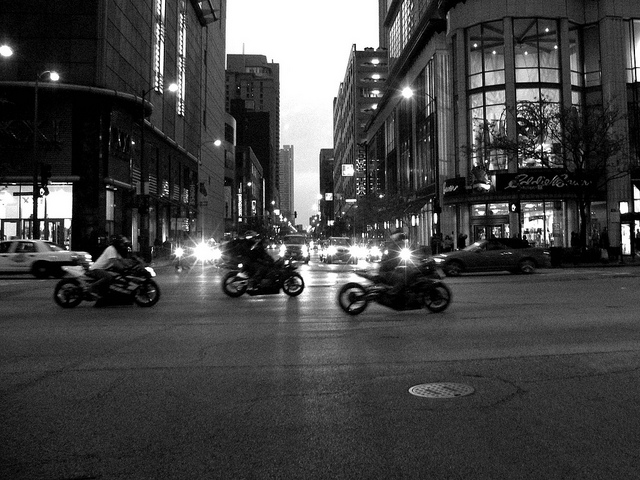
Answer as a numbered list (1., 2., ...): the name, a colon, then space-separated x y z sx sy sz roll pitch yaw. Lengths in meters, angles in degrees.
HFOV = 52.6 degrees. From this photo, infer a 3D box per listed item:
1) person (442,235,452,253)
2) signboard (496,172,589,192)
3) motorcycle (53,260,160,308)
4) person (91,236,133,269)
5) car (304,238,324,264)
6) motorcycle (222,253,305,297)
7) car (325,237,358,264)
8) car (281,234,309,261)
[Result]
1. person: 7.714 0.306 39.266 0.597 1.175 0.437 -3 9 25
2. signboard: 14.067 -3.814 42.982 4.463 1.292 1.182 0 5 1
3. motorcycle: -5.279 0.941 16.161 2.528 1.526 0.788 2 10 -22
4. person: -5.157 0.303 16.167 0.799 0.504 0.564 -15 -3 -2
5. car: -0.563 1.047 67.459 1.543 1.721 2.668 0 -4 -2
6. motorcycle: -1.613 1.022 18.798 2.361 1.589 1.076 -2 2 -3
7. car: 1.336 0.618 41.944 1.090 1.245 2.184 0 -7 -5
8. car: -1.498 0.382 41.958 1.086 1.245 2.424 -1 -5 0
